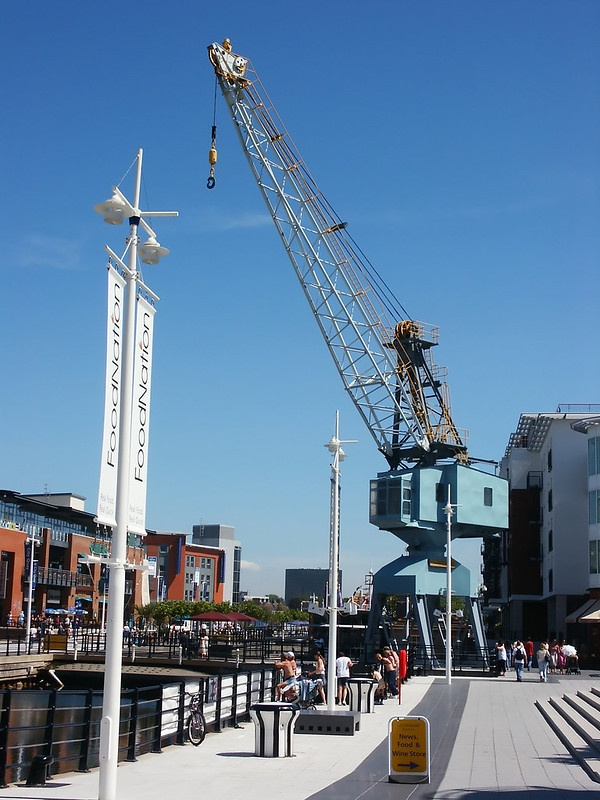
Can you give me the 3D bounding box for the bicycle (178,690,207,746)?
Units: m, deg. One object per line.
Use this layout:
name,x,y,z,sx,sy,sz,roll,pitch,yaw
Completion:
bicycle,-2.227,6.725,22.261,0.600,1.003,0.498,4,1,8

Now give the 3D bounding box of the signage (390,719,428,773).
signage,1.766,5.659,17.308,0.634,0.894,0.474,-2,-16,3

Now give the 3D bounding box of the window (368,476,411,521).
window,4.514,5.047,53.358,2.018,2.441,1.080,-5,-16,12

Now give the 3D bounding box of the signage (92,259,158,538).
signage,-2.438,0.103,14.936,0.096,3.587,1.675,12,17,-14
